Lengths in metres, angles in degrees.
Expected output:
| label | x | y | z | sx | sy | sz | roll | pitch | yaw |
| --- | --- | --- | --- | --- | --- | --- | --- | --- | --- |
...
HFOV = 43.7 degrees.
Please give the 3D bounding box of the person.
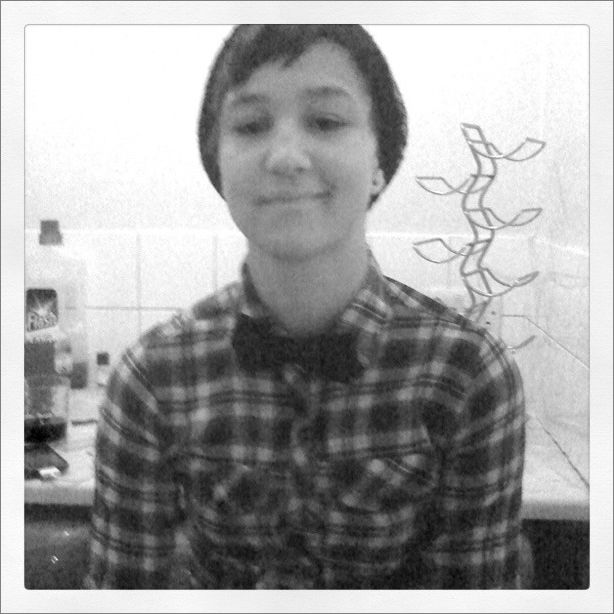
| label | x | y | z | sx | sy | sz | roll | pitch | yaw |
| --- | --- | --- | --- | --- | --- | --- | --- | --- | --- |
| person | 0.001 | 0.009 | 1.659 | 0.931 | 1.211 | 0.231 | 1 | -1 | 12 |
